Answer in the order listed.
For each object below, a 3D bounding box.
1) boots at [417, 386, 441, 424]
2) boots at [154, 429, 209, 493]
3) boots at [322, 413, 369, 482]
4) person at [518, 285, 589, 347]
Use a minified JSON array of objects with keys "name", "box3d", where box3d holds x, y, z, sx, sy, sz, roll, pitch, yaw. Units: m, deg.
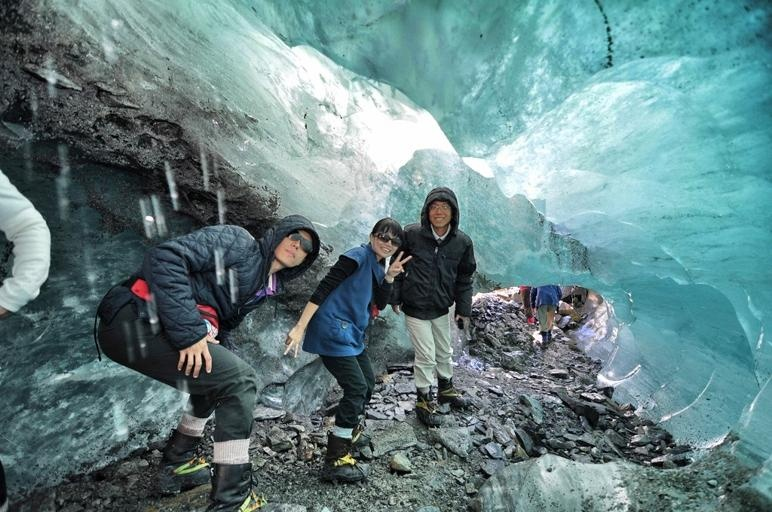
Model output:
[{"name":"boots","box3d":[0.435,1.518,4.311,0.148,0.292,0.426,6,-6,-23]},{"name":"boots","box3d":[-1.556,1.628,3.425,0.231,0.427,0.481,-6,-16,40]},{"name":"boots","box3d":[-0.349,1.713,3.736,0.555,0.495,0.273,9,-10,-31]},{"name":"person","box3d":[3.035,1.021,7.571,1.027,1.088,2.449,-4,-9,26]}]
